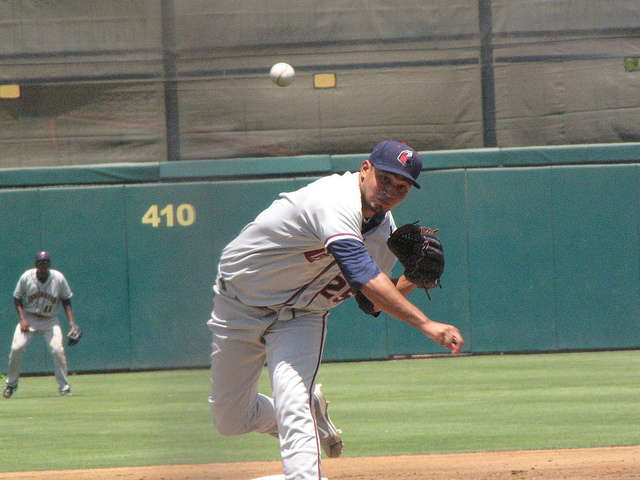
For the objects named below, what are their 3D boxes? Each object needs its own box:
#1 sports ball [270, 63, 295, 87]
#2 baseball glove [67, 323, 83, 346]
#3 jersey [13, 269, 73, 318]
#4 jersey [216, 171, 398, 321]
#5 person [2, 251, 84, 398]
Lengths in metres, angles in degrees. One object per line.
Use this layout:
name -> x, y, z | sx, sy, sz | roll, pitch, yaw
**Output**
sports ball -> -0.547, -2.653, 24.053 | 0.350, 0.355, 0.356 | 5, 7, -1
baseball glove -> -3.546, 1.351, 21.840 | 0.203, 0.266, 0.261 | 31, 23, -25
jersey -> -3.917, 0.717, 21.354 | 0.812, 0.667, 0.389 | 1, 12, -13
jersey -> -0.087, 0.125, 17.592 | 1.786, 1.281, 1.444 | -27, -28, 12
person -> -3.919, 1.199, 21.219 | 1.069, 1.992, 0.730 | -4, 13, -9
